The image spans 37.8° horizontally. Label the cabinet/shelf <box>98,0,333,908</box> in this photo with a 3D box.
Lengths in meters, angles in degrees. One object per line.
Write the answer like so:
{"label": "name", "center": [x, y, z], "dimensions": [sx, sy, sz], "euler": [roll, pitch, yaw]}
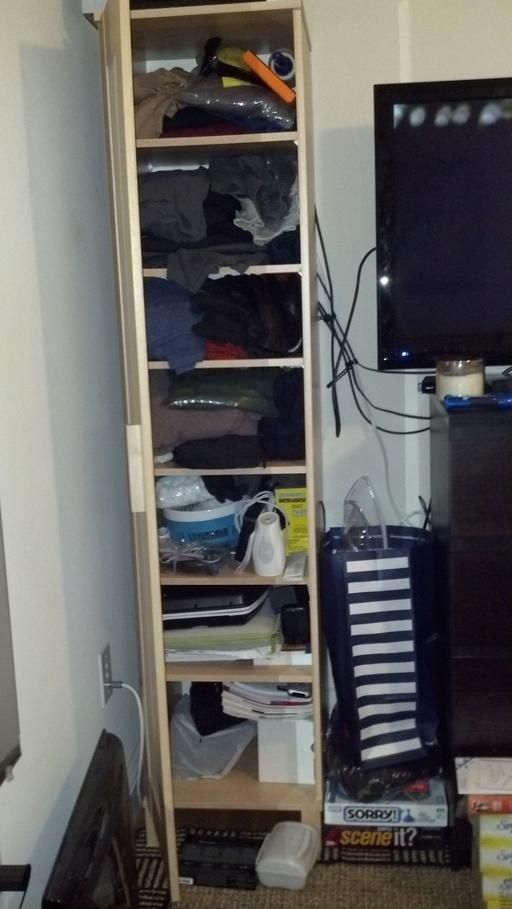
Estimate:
{"label": "cabinet/shelf", "center": [-0.061, -0.010, 1.726], "dimensions": [0.545, 1.866, 0.474], "euler": [-6, 10, -11]}

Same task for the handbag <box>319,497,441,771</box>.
{"label": "handbag", "center": [0.299, 0.429, 2.061], "dimensions": [0.396, 0.861, 0.488], "euler": [-3, 0, 5]}

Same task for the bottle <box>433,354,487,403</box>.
{"label": "bottle", "center": [0.434, -0.163, 1.589], "dimensions": [0.084, 0.080, 0.087], "euler": [2, 4, 21]}
